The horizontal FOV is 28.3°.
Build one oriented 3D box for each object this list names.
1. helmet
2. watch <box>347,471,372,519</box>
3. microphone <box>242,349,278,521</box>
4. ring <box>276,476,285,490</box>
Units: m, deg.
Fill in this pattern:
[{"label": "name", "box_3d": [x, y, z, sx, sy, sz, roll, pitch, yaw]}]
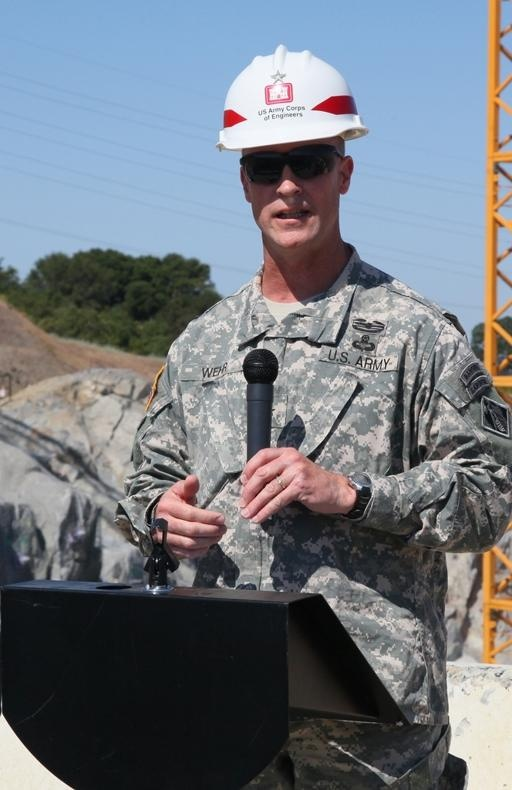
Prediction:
[{"label": "helmet", "box_3d": [0.080, -0.764, 2.567, 0.396, 0.240, 0.461, 1, 15, 15]}, {"label": "watch", "box_3d": [0.223, 0.204, 2.092, 0.063, 0.076, 0.035, -4, -10, 36]}, {"label": "microphone", "box_3d": [0.005, 0.020, 2.090, 0.067, 0.226, 0.114, 2, 0, 7]}, {"label": "ring", "box_3d": [0.047, 0.176, 2.004, 0.007, 0.019, 0.022, -8, 2, -28]}]
